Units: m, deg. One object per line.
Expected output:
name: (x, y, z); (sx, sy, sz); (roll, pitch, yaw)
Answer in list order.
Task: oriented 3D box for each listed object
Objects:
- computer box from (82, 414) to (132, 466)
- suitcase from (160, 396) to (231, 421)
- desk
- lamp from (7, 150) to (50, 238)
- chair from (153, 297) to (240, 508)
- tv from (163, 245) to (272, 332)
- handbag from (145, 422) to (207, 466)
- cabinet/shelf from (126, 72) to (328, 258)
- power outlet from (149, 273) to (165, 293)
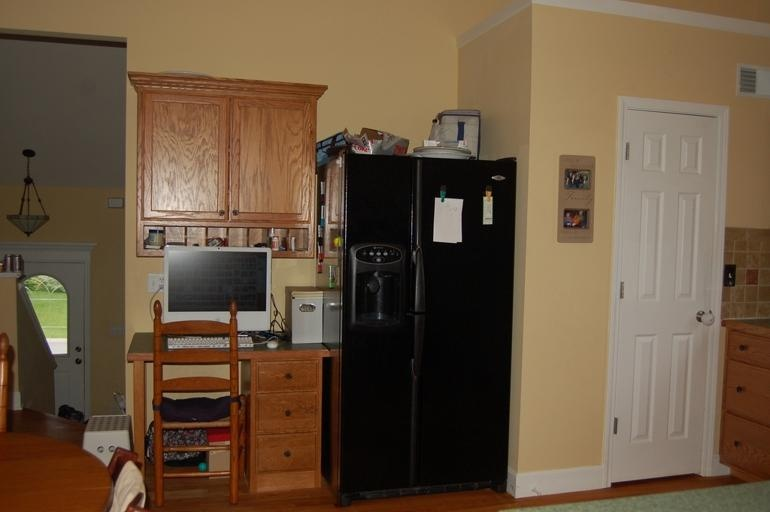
computer box: (-2.142, 1.366, 4.897); (0.376, 0.337, 0.367); (6, 16, -17)
suitcase: (-1.408, 1.148, 4.829); (0.287, 0.098, 0.279); (-1, -4, -7)
desk: (-1.320, 1.162, 5.355); (1.955, 1.565, 1.090); (0, -5, -11)
lamp: (-4.572, -0.777, 8.206); (0.478, 1.076, 0.472); (-2, 3, -8)
chair: (-1.432, 1.071, 4.938); (0.662, 1.498, 0.583); (-2, 3, -13)
tv: (-1.342, 0.252, 5.094); (0.706, 0.578, 0.136); (1, -4, -11)
handbag: (-1.641, 1.527, 5.315); (0.355, 0.176, 0.491); (1, 1, -2)
cabinet/shelf: (-1.302, -0.726, 5.184); (1.564, 1.406, 0.543); (1, -3, -14)
power outlet: (-1.857, 0.218, 5.276); (0.173, 0.166, 0.018); (1, -1, -20)
